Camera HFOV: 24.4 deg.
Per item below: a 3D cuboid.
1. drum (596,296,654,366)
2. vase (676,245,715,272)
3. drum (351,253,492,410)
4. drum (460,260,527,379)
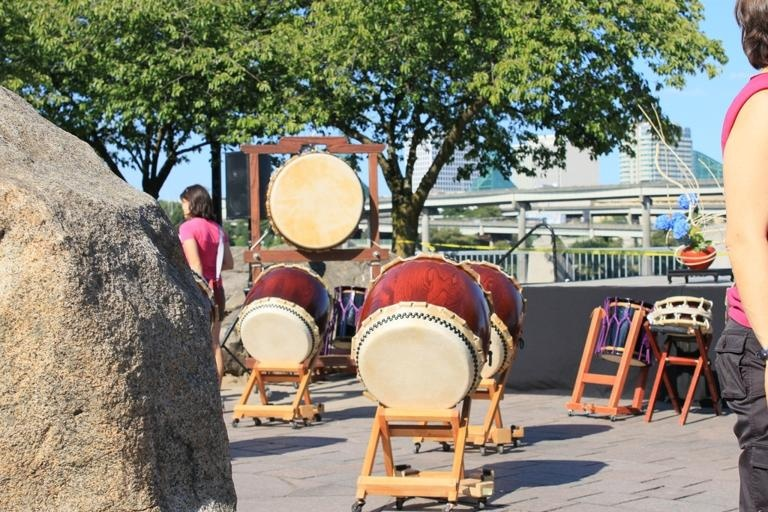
[{"bbox_3d":[4.476,1.305,31.803,1.127,1.131,1.125,12,-6,-8],"label":"drum"},{"bbox_3d":[5.968,0.044,33.879,0.487,0.286,0.492,-2,-8,14],"label":"vase"},{"bbox_3d":[0.829,1.177,28.675,2.298,2.336,2.162,7,34,16],"label":"drum"},{"bbox_3d":[1.774,1.065,29.242,1.212,1.538,1.622,10,34,8],"label":"drum"}]
